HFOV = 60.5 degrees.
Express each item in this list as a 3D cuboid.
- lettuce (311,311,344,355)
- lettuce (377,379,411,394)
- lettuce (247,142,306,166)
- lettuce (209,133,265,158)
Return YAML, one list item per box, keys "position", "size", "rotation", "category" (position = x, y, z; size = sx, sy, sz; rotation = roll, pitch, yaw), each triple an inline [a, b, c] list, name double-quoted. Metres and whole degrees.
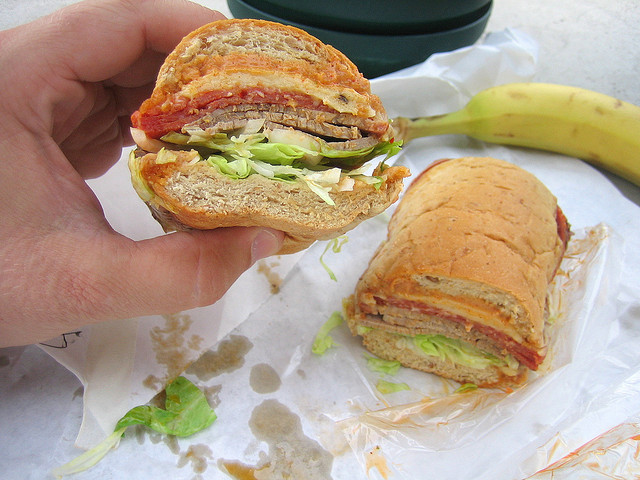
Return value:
- position: [0.049, 0.623, 3.642]
  size: [0.143, 0.066, 0.269]
  rotation: [20, 55, 8]
  category: "lettuce"
- position: [0.461, 0.931, 3.465]
  size: [0.140, 0.031, 0.085]
  rotation: [7, 22, 3]
  category: "lettuce"
- position: [-0.223, -0.438, 2.812]
  size: [0.212, 0.135, 0.077]
  rotation: [23, -1, -3]
  category: "lettuce"
- position: [-0.412, -0.485, 2.809]
  size: [0.213, 0.074, 0.141]
  rotation: [-11, 25, 7]
  category: "lettuce"
